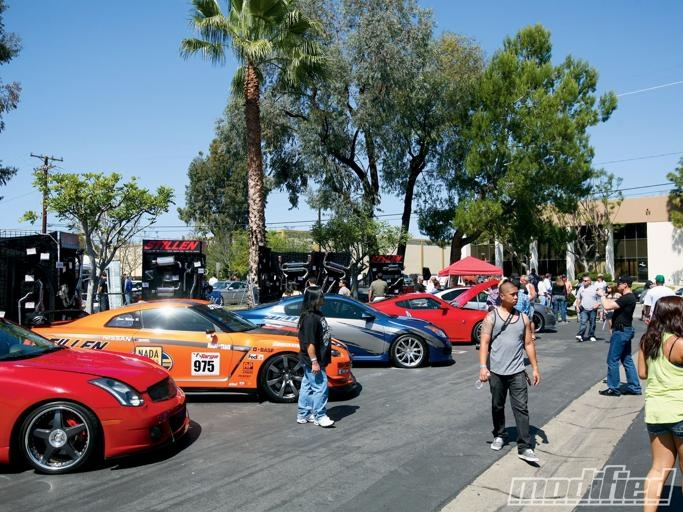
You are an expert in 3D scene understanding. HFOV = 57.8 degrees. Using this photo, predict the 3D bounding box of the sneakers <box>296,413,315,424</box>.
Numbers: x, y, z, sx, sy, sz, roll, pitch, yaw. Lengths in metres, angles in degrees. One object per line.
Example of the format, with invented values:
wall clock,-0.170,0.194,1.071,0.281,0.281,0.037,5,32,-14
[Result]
sneakers,-0.510,2.360,9.010,0.277,0.122,0.134,-1,1,-2

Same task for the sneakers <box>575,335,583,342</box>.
sneakers,6.712,2.309,17.519,0.129,0.138,0.302,10,4,-5

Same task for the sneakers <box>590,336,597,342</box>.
sneakers,7.191,2.368,17.649,0.140,0.062,0.188,-4,5,7

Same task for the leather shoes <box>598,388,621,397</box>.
leather shoes,4.612,2.330,10.636,0.350,0.170,0.152,-5,7,29

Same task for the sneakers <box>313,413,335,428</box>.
sneakers,-0.239,2.352,8.893,0.280,0.145,0.133,-5,-4,39

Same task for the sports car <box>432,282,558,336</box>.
sports car,5.022,1.649,18.399,3.584,1.350,1.600,-3,4,-6

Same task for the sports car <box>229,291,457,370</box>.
sports car,0.193,1.542,13.345,3.847,1.292,1.893,1,0,-4

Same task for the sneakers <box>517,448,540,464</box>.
sneakers,2.302,2.440,7.600,0.105,0.129,0.297,3,-6,-21
